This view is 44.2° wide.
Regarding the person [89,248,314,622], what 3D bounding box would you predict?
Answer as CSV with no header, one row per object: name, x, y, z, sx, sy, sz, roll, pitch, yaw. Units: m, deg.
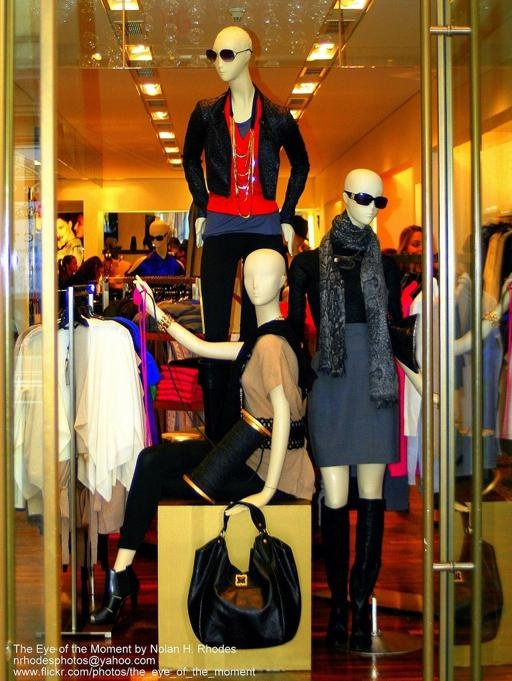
person,-0.067,0.308,2.481,0.946,1.706,0.718,2,0,-11

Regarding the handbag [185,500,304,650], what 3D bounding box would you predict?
handbag,-0.034,0.641,1.697,0.315,0.470,0.152,0,-14,-3

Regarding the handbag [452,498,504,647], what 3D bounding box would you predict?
handbag,0.514,0.576,1.542,0.080,0.289,0.187,-1,5,6

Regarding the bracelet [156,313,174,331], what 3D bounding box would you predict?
bracelet,-0.293,-0.062,2.012,0.045,0.065,0.033,31,-23,-2
